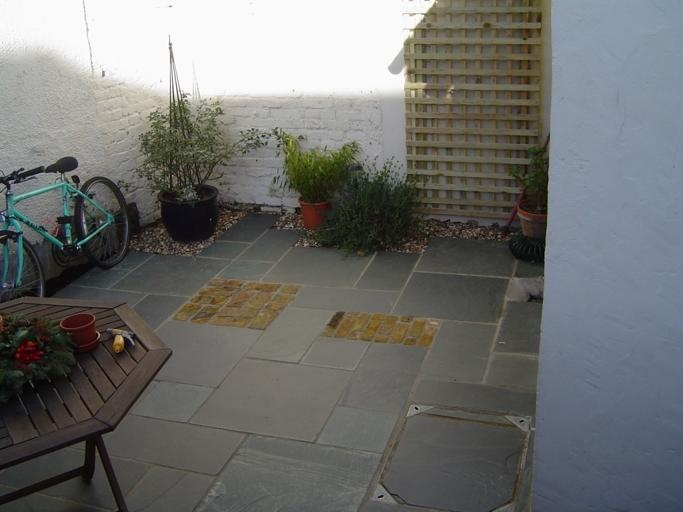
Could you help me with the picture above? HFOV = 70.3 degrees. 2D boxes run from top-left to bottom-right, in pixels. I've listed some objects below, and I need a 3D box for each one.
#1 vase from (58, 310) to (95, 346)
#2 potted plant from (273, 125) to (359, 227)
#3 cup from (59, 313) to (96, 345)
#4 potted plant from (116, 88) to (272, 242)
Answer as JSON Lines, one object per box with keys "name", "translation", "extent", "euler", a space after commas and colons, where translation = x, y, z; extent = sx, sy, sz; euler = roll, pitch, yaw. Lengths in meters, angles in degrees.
{"name": "vase", "translation": [-1.308, 0.360, 2.455], "extent": [0.153, 0.119, 0.162], "euler": [8, 21, 28]}
{"name": "potted plant", "translation": [-0.255, -0.954, 5.479], "extent": [1.081, 1.067, 0.604], "euler": [2, 30, -4]}
{"name": "cup", "translation": [-1.297, 0.349, 2.451], "extent": [0.148, 0.120, 0.161], "euler": [-2, 21, 1]}
{"name": "potted plant", "translation": [-1.732, -1.095, 5.727], "extent": [1.122, 1.529, 1.321], "euler": [14, 27, 33]}
